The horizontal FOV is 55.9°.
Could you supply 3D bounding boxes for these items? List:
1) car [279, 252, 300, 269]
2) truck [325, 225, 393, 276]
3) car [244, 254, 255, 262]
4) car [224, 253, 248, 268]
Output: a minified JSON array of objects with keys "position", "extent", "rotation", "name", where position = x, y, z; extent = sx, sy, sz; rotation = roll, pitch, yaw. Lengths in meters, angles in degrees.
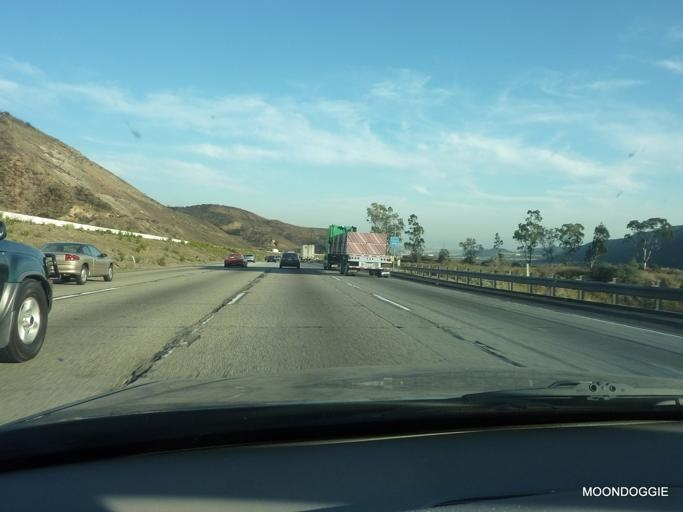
[{"position":[-4.208,0.396,51.513],"extent":[1.952,1.177,3.731],"rotation":[1,3,-3],"name":"car"},{"position":[0.947,-0.244,40.101],"extent":[2.333,2.292,6.396],"rotation":[3,2,-21],"name":"truck"},{"position":[-10.651,0.216,74.074],"extent":[1.454,0.821,2.578],"rotation":[1,-4,-5],"name":"car"},{"position":[-8.207,0.360,49.785],"extent":[1.316,1.055,2.077],"rotation":[4,0,7],"name":"car"}]
